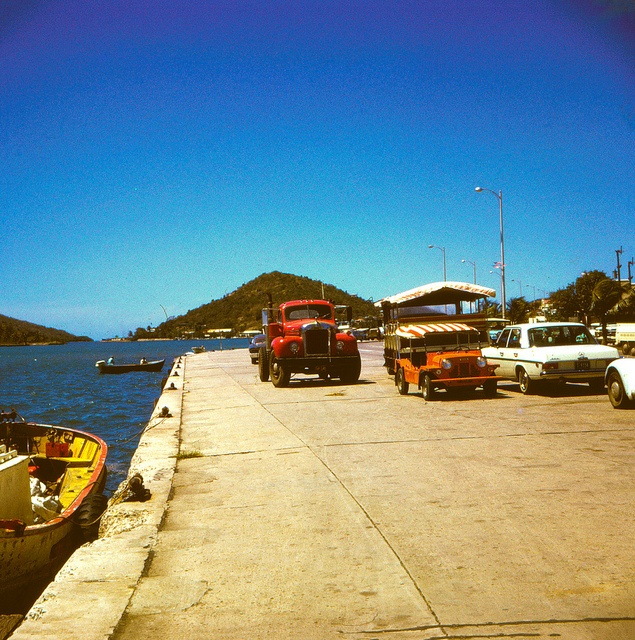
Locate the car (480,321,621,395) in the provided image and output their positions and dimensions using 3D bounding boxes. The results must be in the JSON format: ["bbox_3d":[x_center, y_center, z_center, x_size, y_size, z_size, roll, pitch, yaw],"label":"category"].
[{"bbox_3d":[6.136,0.924,15.405,1.907,1.270,3.530,-2,1,-9],"label":"car"}]

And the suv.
[{"bbox_3d":[3.414,1.035,15.650,1.515,1.448,2.976,0,-3,-15],"label":"suv"}]

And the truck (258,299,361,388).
[{"bbox_3d":[-0.231,0.788,21.690,3.533,3.412,3.323,-3,-3,-2],"label":"truck"}]
